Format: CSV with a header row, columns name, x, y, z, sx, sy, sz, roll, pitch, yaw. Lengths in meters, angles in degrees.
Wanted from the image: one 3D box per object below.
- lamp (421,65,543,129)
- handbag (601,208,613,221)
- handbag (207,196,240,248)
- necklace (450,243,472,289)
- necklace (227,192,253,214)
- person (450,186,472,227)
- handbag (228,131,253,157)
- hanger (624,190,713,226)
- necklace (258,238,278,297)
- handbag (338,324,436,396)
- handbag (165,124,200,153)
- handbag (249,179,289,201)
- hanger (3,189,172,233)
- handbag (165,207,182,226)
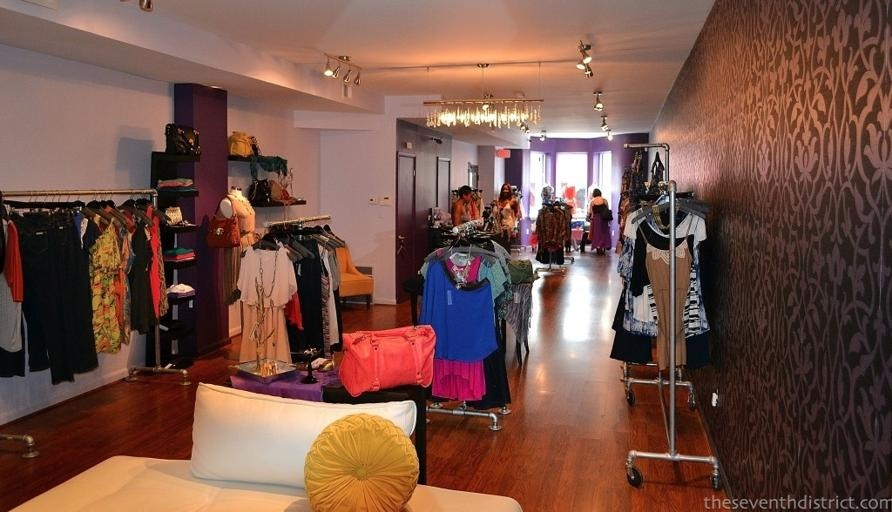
name,x,y,z,sx,sy,sz,roll,pitch,yaw
lamp,0.515,-2.374,9.264,1.426,0.735,1.435,4,7,23
handbag,4.496,-1.184,16.078,0.350,0.322,0.138,-3,16,-12
handbag,-3.014,-0.457,7.744,0.397,0.694,0.714,-4,13,-20
necklace,0.139,0.092,5.822,0.203,0.358,0.145,3,12,15
necklace,-2.852,-0.726,7.873,0.182,0.339,0.356,-12,1,13
person,0.327,-1.082,12.107,0.453,0.768,1.220,1,12,3
handbag,-3.029,-1.656,8.472,0.382,0.374,0.314,-7,14,-29
hanger,2.262,-0.480,5.630,0.533,0.247,0.543,5,10,42
necklace,-2.075,0.089,6.739,0.280,0.490,0.139,1,-4,8
handbag,-0.500,0.818,4.693,0.847,0.551,0.452,-3,-17,-26
handbag,-3.395,-1.501,7.340,0.265,0.372,0.416,1,4,22
handbag,-2.761,-1.019,8.864,0.460,0.197,0.370,0,-2,44
hanger,-4.017,-0.579,6.534,1.594,0.562,0.485,-6,8,-36
handbag,-3.433,-0.506,7.264,0.213,0.209,0.213,-4,-2,8
